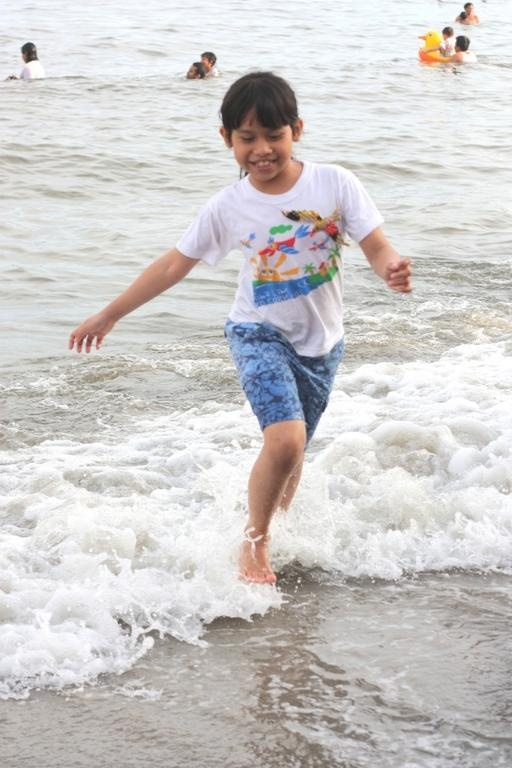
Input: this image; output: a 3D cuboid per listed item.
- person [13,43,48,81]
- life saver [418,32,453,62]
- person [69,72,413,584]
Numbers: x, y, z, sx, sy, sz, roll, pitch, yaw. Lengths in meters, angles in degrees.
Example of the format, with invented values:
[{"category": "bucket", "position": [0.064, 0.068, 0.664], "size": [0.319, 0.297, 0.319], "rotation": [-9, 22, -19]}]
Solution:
[{"category": "person", "position": [-4.464, -6.335, 16.576], "size": [0.559, 0.799, 1.121], "rotation": [0, 16, -15]}, {"category": "life saver", "position": [4.208, -7.940, 19.997], "size": [0.689, 0.768, 0.821], "rotation": [3, 16, -2]}, {"category": "person", "position": [0.062, -0.193, 2.826], "size": [0.655, 1.608, 0.817], "rotation": [-5, 19, -27]}]
